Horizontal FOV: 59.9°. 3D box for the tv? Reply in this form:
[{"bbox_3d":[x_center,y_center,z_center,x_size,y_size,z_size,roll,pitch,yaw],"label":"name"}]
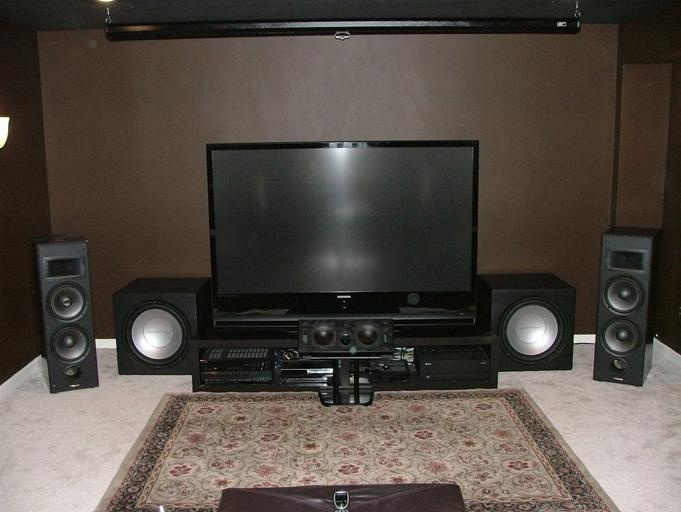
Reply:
[{"bbox_3d":[0.017,-0.195,4.378,1.544,0.109,0.978,-1,-80,2],"label":"tv"}]

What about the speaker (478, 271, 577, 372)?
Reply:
[{"bbox_3d":[1.464,0.510,4.743,0.693,0.505,0.708,-2,-82,2],"label":"speaker"}]
